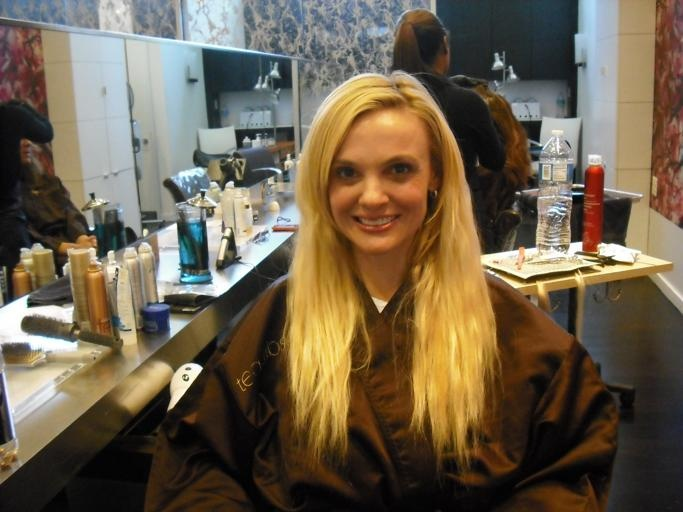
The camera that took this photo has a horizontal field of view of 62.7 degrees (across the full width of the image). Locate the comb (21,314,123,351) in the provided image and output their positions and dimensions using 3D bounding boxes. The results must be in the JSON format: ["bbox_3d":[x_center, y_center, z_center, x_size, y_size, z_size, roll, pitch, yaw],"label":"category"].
[{"bbox_3d":[-0.790,0.224,1.631,0.278,0.090,0.069,14,14,-12],"label":"comb"}]

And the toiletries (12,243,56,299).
[{"bbox_3d":[-1.073,0.048,1.956,0.070,0.156,0.102,-10,26,-38],"label":"toiletries"}]

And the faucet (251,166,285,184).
[{"bbox_3d":[-0.523,-0.594,4.034,0.136,0.160,0.150,-5,7,-39],"label":"faucet"}]

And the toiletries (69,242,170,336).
[{"bbox_3d":[-0.684,0.096,1.731,0.182,0.332,0.227,15,20,31],"label":"toiletries"}]

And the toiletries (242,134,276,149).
[{"bbox_3d":[-0.609,-0.844,4.149,0.068,0.107,0.270,4,13,31],"label":"toiletries"}]

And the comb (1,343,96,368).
[{"bbox_3d":[-0.788,0.285,1.574,0.294,0.065,0.082,1,8,-2],"label":"comb"}]

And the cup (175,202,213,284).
[{"bbox_3d":[-0.571,-0.050,2.170,0.144,0.287,0.184,1,10,15],"label":"cup"}]
